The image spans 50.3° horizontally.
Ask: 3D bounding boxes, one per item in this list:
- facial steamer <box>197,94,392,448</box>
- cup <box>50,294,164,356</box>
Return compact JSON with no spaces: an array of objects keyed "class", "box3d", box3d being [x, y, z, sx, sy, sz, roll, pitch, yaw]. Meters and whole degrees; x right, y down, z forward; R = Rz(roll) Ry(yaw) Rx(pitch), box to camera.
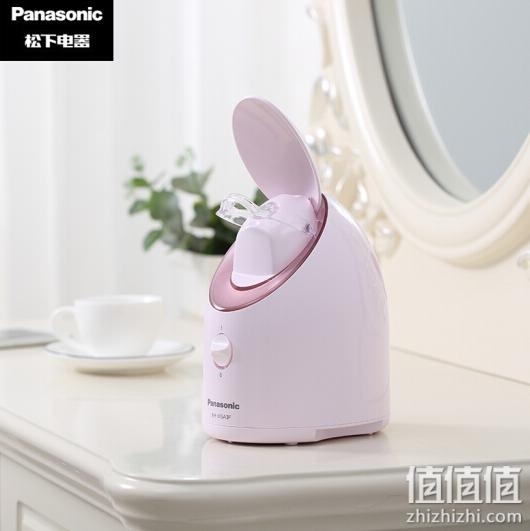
[{"class":"facial steamer","box3d":[0.021,0.004,0.396,0.128,0.238,0.095,0,9,12]},{"class":"cup","box3d":[-0.188,0.069,0.651,0.096,0.050,0.078,-1,-7,2]}]
